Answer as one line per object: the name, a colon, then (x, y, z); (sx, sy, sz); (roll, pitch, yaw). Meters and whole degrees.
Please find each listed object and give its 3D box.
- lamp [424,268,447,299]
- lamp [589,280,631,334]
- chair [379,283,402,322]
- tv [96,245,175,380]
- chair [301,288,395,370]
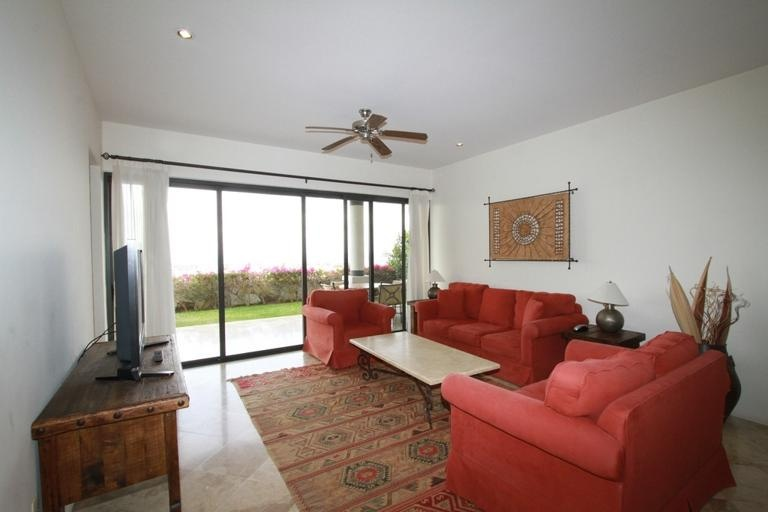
lamp: (0.766, 0.449, 7.385); (0.434, 0.544, 0.423); (2, -8, -12)
lamp: (2.367, 0.572, 5.199); (0.523, 0.645, 0.546); (-5, -7, 43)
chair: (0.116, 0.688, 7.611); (0.424, 0.703, 0.435); (0, 3, -22)
tv: (-2.385, 0.544, 4.499); (0.640, 0.965, 1.102); (-3, 4, -21)
chair: (-0.499, 0.900, 6.488); (1.230, 0.976, 0.991); (2, -6, -32)
